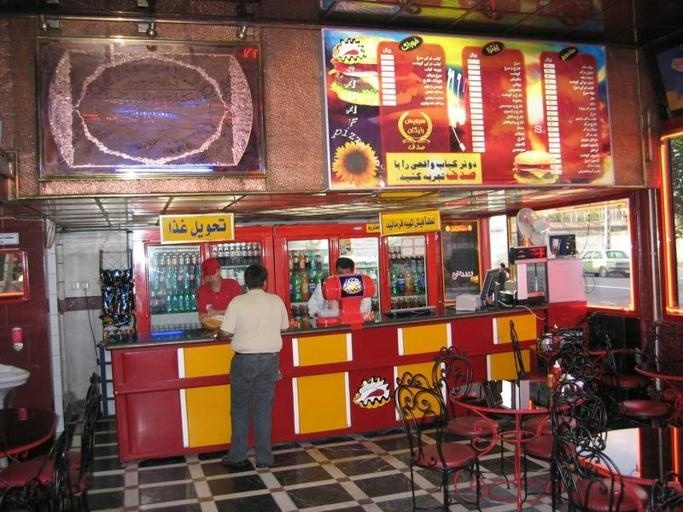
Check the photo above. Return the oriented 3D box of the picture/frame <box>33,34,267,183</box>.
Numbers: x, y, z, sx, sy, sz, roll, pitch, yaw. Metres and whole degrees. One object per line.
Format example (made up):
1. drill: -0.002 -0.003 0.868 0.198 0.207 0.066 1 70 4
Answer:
1. picture/frame: -1.764 -1.379 5.962 2.047 1.250 0.039 0 4 -6

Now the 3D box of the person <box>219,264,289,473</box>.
1. person: -0.895 1.124 6.485 0.761 2.041 0.415 -7 12 -18

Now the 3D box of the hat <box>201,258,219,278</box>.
1. hat: -1.590 0.142 7.716 0.174 0.127 0.239 -9 4 2

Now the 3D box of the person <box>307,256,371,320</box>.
1. person: -0.067 0.407 7.794 0.689 0.948 0.396 11 20 28

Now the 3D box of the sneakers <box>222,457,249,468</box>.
1. sneakers: -1.091 2.116 6.504 0.260 0.104 0.102 5 1 20

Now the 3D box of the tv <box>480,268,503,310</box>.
1. tv: 1.942 0.401 8.227 0.294 0.458 0.656 0 12 14

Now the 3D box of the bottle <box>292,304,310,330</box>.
1. bottle: -0.560 0.813 8.464 0.251 0.434 0.244 -3 -2 0

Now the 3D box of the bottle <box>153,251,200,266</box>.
1. bottle: -2.349 0.011 9.060 0.426 0.277 0.097 3 0 -5

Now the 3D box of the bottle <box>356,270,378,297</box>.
1. bottle: 0.298 0.326 7.251 0.165 0.251 0.260 -3 11 -1
